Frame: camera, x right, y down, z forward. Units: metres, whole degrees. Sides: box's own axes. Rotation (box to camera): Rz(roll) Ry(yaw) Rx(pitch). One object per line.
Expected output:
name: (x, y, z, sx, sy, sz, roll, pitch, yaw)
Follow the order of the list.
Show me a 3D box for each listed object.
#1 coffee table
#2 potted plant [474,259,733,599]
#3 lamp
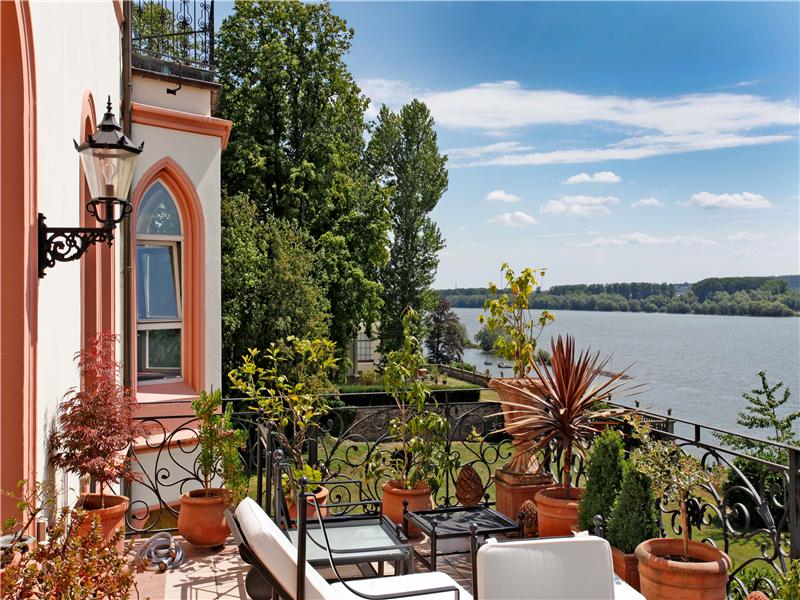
coffee table: (0.461, 2.191, 7.607, 0.844, 0.616, 0.929, -5, 13, -26)
potted plant: (1.711, 1.020, 7.679, 1.219, 2.555, 3.485, 2, 4, -13)
lamp: (-2.378, -0.822, 6.254, 0.728, 1.366, 0.518, -5, 16, -44)
